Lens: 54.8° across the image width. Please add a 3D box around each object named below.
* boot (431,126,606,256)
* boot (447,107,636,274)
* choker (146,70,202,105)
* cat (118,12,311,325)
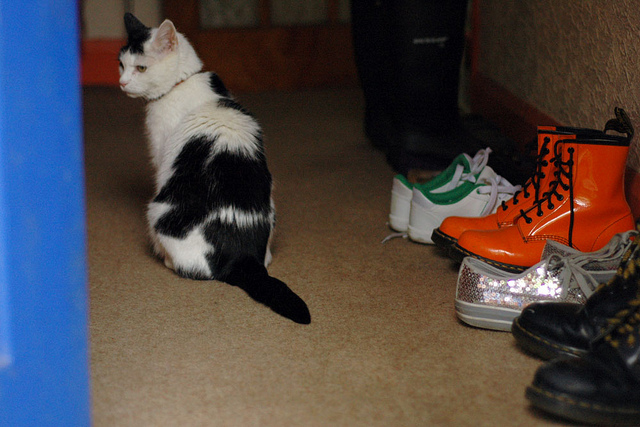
[{"bbox_3d":[0.562,-0.024,1.612,0.503,0.331,0.193,3,7,-1],"label":"boot"},{"bbox_3d":[0.471,-0.041,1.596,0.547,0.403,0.249,0,14,8],"label":"boot"},{"bbox_3d":[-0.402,-0.350,1.721,0.133,0.019,0.017,-39,31,7],"label":"choker"},{"bbox_3d":[-0.302,-0.135,1.752,0.352,0.510,0.995,-15,63,-28],"label":"cat"}]
